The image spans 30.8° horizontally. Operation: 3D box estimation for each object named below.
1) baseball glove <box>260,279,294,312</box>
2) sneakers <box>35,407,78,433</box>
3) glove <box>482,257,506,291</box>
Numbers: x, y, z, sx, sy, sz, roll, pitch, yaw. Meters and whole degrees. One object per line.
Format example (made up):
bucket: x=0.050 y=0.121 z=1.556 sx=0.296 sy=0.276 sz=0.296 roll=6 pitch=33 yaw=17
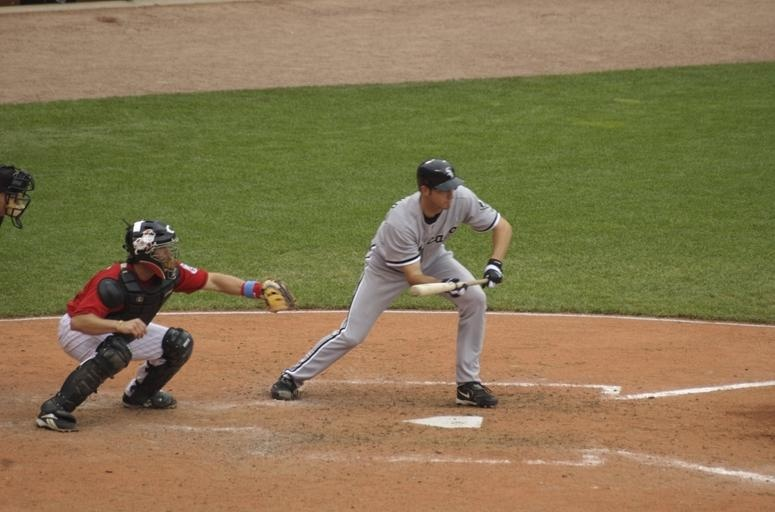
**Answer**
baseball glove: x=-1.647 y=0.610 z=20.918 sx=0.505 sy=0.380 sz=0.238 roll=46 pitch=22 yaw=-6
sneakers: x=-4.736 y=2.390 z=20.321 sx=0.595 sy=0.250 sz=0.280 roll=2 pitch=9 yaw=13
glove: x=1.564 y=0.280 z=21.073 sx=0.373 sy=0.407 sz=0.202 roll=14 pitch=-17 yaw=-5
